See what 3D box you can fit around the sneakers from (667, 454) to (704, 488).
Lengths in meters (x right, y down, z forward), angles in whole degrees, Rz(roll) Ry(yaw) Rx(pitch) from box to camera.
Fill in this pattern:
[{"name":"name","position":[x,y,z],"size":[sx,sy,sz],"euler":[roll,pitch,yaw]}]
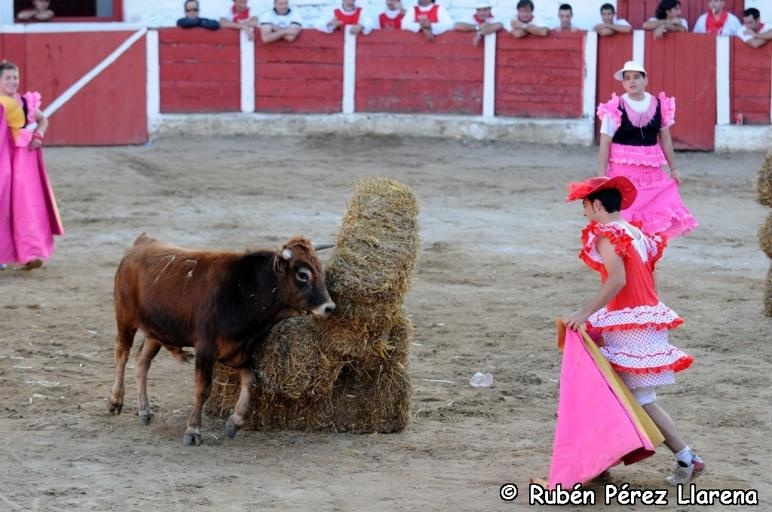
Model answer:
[{"name":"sneakers","position":[2.825,2.011,13.188],"size":[0.209,0.165,0.459],"euler":[34,-47,-30]}]

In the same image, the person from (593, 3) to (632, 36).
[{"name":"person","position":[3.703,-3.811,22.980],"size":[0.857,0.495,0.539],"euler":[-1,-4,14]}]

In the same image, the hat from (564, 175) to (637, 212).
[{"name":"hat","position":[2.024,-0.643,13.196],"size":[0.421,0.126,0.405],"euler":[-3,-14,15]}]

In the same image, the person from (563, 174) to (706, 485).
[{"name":"person","position":[2.296,0.676,13.223],"size":[1.205,2.851,0.532],"euler":[1,7,8]}]
